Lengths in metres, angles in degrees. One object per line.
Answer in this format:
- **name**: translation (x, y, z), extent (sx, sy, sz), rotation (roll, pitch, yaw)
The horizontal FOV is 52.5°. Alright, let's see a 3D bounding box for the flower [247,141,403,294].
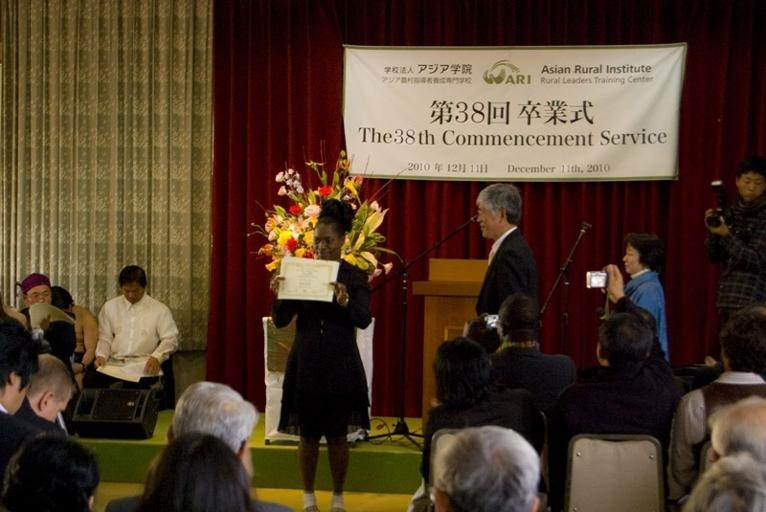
- **flower**: translation (-0.457, -0.334, 6.245), extent (1.077, 1.238, 1.103), rotation (6, -5, -27)

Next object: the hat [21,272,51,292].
- **hat**: translation (-2.921, 0.217, 6.493), extent (0.174, 0.168, 0.207), rotation (-7, 0, -16)

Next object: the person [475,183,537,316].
- **person**: translation (0.819, -0.053, 5.151), extent (0.401, 0.889, 0.378), rotation (1, -5, 9)

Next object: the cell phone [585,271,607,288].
- **cell phone**: translation (1.491, 0.161, 5.405), extent (0.127, 0.108, 0.216), rotation (1, -6, 13)

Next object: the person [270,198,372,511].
- **person**: translation (-0.401, 0.627, 4.961), extent (0.640, 2.013, 0.477), rotation (2, -5, -2)
